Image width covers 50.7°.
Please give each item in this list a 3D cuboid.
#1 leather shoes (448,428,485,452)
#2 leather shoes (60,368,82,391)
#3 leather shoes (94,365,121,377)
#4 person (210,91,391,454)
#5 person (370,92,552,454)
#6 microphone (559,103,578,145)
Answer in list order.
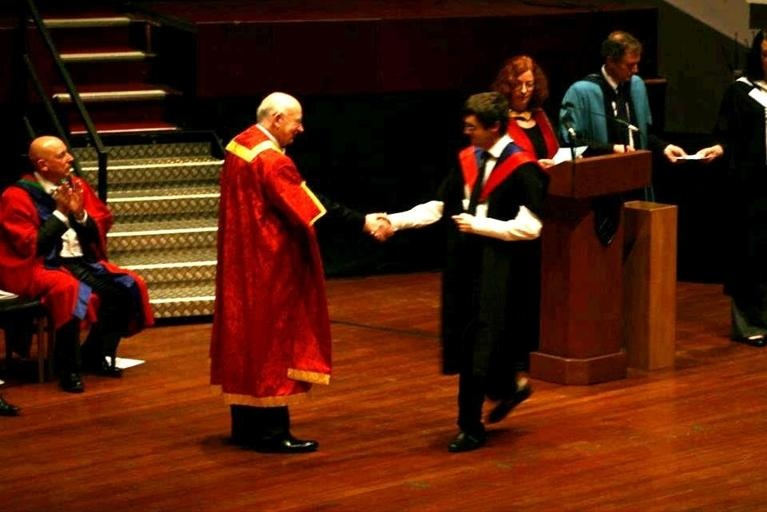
[{"bbox_3d":[0.440,0.963,4.248,0.202,0.068,0.089,-11,13,-36],"label":"leather shoes"},{"bbox_3d":[-1.978,0.775,5.143,0.138,0.121,0.260,-7,14,-21],"label":"leather shoes"},{"bbox_3d":[-1.816,0.764,5.351,0.218,0.076,0.067,1,16,12],"label":"leather shoes"},{"bbox_3d":[-0.559,0.101,4.199,0.727,1.851,0.561,-2,15,-3],"label":"person"},{"bbox_3d":[0.527,0.047,4.431,0.656,1.866,1.022,0,15,6],"label":"person"},{"bbox_3d":[1.200,-0.836,5.397,0.144,0.340,0.277,3,-3,9],"label":"microphone"}]
